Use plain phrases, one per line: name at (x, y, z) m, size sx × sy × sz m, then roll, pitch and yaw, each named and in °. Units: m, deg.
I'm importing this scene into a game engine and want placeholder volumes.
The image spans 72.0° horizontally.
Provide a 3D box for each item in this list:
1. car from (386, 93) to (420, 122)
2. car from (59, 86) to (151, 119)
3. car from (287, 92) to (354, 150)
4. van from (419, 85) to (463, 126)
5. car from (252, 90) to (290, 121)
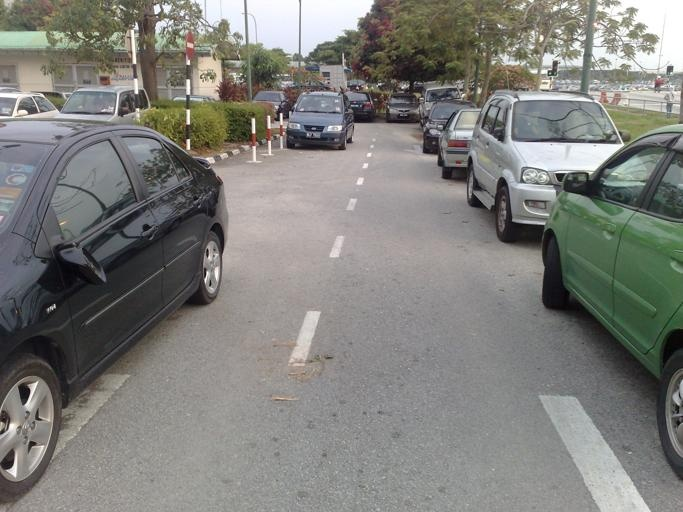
car at (5.132, -12.158, 39.032) m, size 2.116 × 1.987 × 5.070 m, roll -1°, pitch 16°, yaw 3°
car at (-8.960, -5.674, 17.808) m, size 1.693 × 1.630 × 3.010 m, roll 2°, pitch 14°, yaw 5°
car at (-0.966, -6.475, 22.498) m, size 2.782 × 2.675 × 3.406 m, roll 6°, pitch 16°, yaw 21°
van at (7.033, -10.010, 33.642) m, size 2.876 × 2.939 × 5.610 m, roll 0°, pitch 26°, yaw 4°
car at (-5.446, -11.789, 36.908) m, size 2.622 × 2.117 × 3.224 m, roll -2°, pitch 15°, yaw -7°
